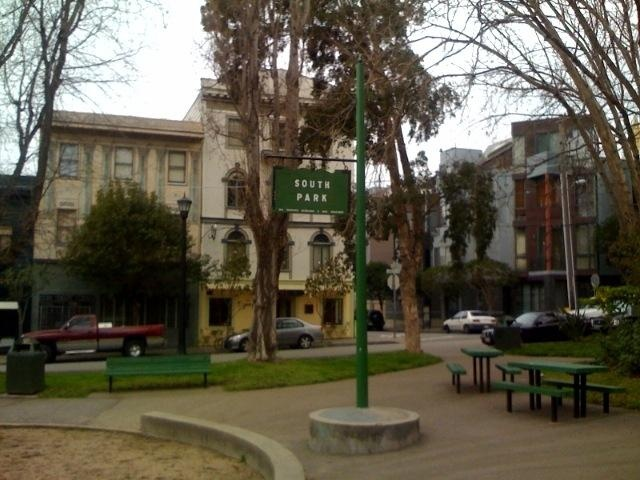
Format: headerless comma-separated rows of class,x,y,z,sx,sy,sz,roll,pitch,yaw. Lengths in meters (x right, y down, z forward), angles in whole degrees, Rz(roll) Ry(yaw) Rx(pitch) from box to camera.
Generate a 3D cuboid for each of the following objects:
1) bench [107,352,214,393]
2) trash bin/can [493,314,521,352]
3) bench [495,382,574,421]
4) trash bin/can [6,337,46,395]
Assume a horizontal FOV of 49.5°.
bench,-4.447,3.597,18.960,2.435,1.107,2.641,6,-3,-24
trash bin/can,8.130,4.047,30.200,1.223,1.503,0.754,1,-9,-5
bench,4.758,3.498,15.326,1.788,0.737,1.699,2,-4,-9
trash bin/can,-7.881,3.311,18.516,0.734,1.412,0.923,2,-1,-37
